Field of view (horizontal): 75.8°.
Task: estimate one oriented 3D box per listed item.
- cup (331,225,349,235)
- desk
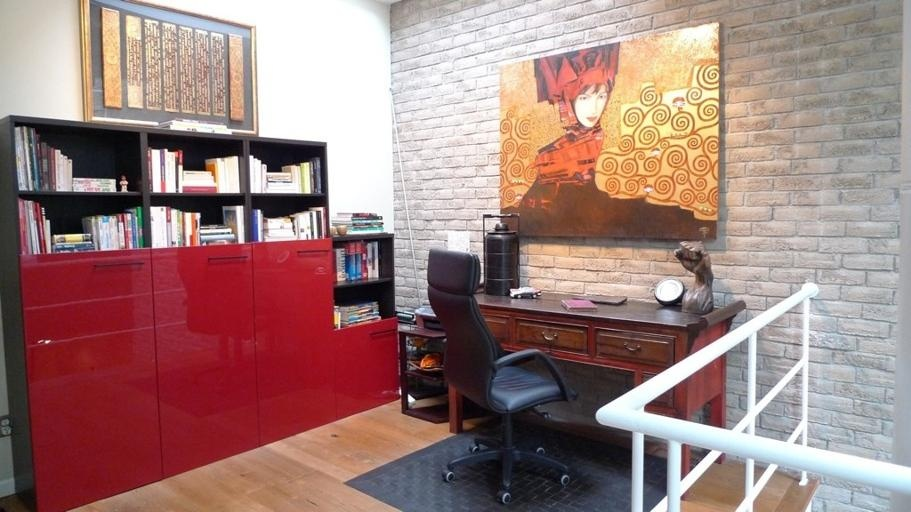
[{"bbox_3d":[-1.150,-0.255,5.774,0.118,0.067,0.112,-1,0,0],"label":"cup"},{"bbox_3d":[1.175,1.033,5.425,2.803,1.321,1.084,2,6,39],"label":"desk"}]
